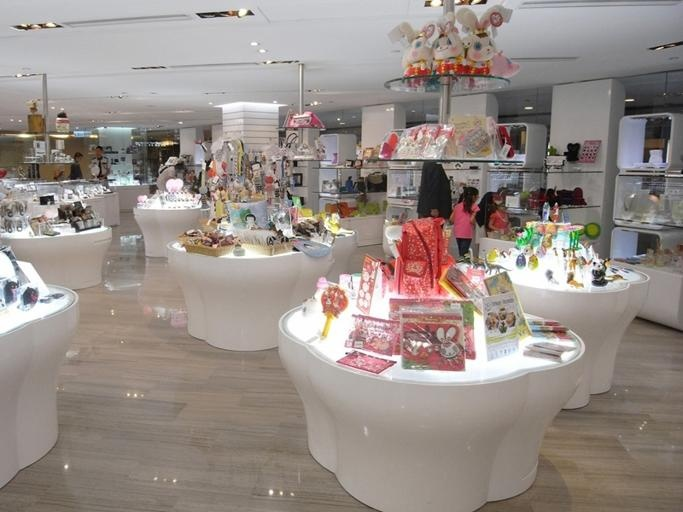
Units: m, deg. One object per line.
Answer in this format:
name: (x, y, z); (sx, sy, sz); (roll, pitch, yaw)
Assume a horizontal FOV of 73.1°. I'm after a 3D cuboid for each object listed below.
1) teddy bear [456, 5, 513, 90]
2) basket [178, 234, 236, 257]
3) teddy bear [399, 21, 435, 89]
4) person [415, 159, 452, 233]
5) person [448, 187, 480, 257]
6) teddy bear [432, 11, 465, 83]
teddy bear: (0.973, -1.413, 3.088); (0.408, 0.532, 0.682); (4, 12, 20)
basket: (-1.450, -0.130, 4.908); (0.724, 0.170, 0.342); (6, 13, 29)
teddy bear: (0.513, -1.378, 3.117); (0.216, 0.454, 0.686); (1, 11, 7)
person: (1.570, -1.066, 7.764); (0.553, 0.965, 0.594); (1, 11, 9)
person: (1.989, -0.549, 7.475); (0.442, 1.125, 0.610); (3, 11, 16)
teddy bear: (0.694, -1.378, 2.974); (0.215, 0.398, 0.220); (2, 11, 11)
